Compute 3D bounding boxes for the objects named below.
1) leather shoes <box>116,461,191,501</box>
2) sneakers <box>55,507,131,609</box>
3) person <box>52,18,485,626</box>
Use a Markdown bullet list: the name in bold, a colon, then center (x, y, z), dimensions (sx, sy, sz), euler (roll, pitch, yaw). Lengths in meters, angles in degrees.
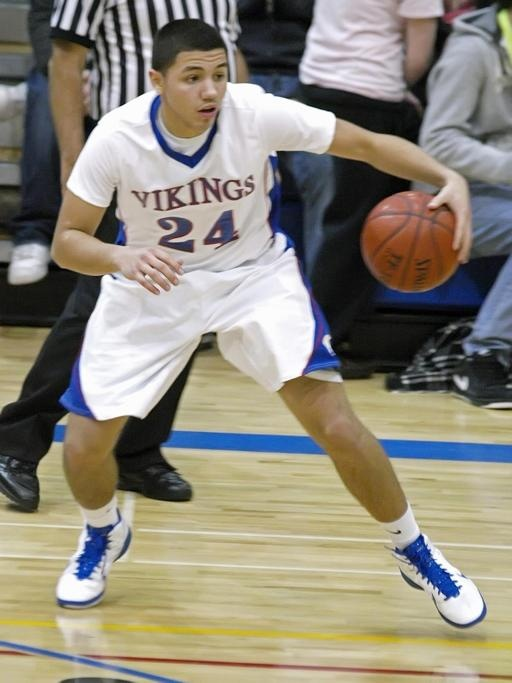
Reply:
- **leather shoes**: center (-0.290, 0.420, 2.089), dimensions (0.266, 0.092, 0.091), euler (5, 16, 20)
- **sneakers**: center (-0.313, 0.441, 1.490), dimensions (0.091, 0.103, 0.242), euler (25, 35, -4)
- **person**: center (0.017, -0.014, 1.385), dimensions (0.810, 1.096, 0.633), euler (1, 31, -14)
